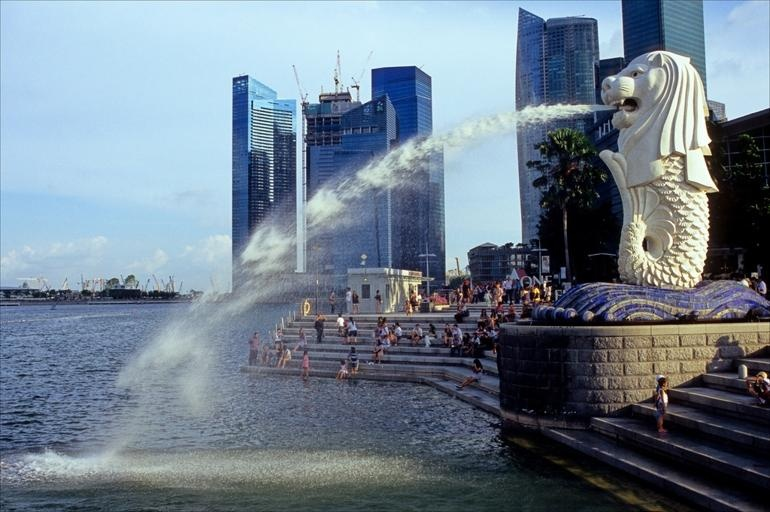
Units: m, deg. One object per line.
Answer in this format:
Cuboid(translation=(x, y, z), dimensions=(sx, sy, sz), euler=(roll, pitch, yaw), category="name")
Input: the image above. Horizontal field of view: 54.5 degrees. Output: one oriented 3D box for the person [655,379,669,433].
Cuboid(translation=(10.318, 5.472, 27.887), dimensions=(0.422, 2.005, 1.383), euler=(-2, -4, 20), category="person")
